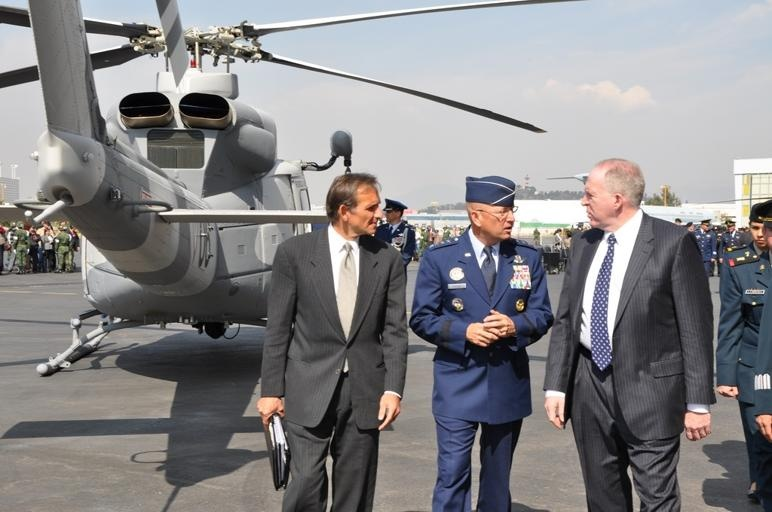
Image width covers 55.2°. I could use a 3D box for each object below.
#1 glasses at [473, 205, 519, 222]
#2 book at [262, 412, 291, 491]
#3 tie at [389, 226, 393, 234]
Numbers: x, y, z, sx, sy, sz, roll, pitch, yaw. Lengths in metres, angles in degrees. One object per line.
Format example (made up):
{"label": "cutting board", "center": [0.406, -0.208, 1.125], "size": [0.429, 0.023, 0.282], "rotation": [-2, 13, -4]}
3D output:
{"label": "glasses", "center": [0.820, -0.337, 5.673], "size": [0.363, 0.134, 0.162], "rotation": [1, 6, 5]}
{"label": "book", "center": [-0.747, 1.353, 5.167], "size": [0.144, 0.438, 0.344], "rotation": [-4, 33, -9]}
{"label": "tie", "center": [0.108, -0.444, 12.120], "size": [0.067, 0.084, 0.022], "rotation": [1, -8, -19]}
